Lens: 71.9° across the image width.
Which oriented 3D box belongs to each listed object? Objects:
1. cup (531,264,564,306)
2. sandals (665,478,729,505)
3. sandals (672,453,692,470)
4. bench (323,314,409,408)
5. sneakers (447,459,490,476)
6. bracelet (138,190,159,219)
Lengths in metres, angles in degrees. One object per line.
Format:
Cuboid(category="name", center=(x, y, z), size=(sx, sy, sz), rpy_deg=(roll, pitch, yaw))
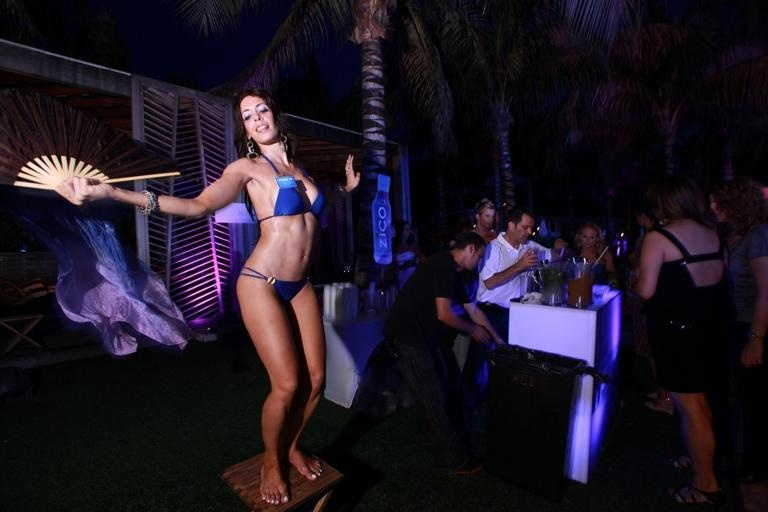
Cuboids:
Cuboid(category="cup", center=(1.662, 0.316, 5.694), size=(0.380, 0.477, 0.352), rpy_deg=(-1, -2, 0))
Cuboid(category="sandals", center=(3.178, 2.439, 5.381), size=(0.393, 0.144, 0.227), rpy_deg=(-1, -1, 29))
Cuboid(category="sandals", center=(3.229, 2.254, 5.754), size=(0.126, 0.065, 0.168), rpy_deg=(-49, 36, -17))
Cuboid(category="bench", center=(-0.224, 1.314, 6.496), size=(0.419, 1.064, 1.128), rpy_deg=(-6, -7, 43))
Cuboid(category="sneakers", center=(0.901, 2.280, 5.752), size=(0.447, 0.220, 0.155), rpy_deg=(4, -9, -17))
Cuboid(category="bracelet", center=(-2.084, -0.446, 4.742), size=(0.151, 0.211, 0.079), rpy_deg=(10, 2, -3))
